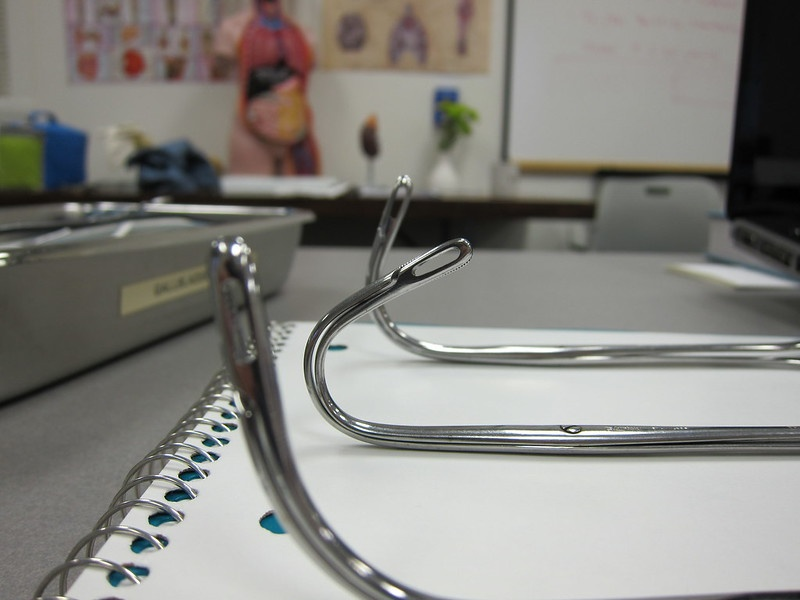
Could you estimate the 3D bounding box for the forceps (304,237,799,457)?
[{"bbox_3d":[0.089,0.058,0.501,0.265,0.093,0.186,-2,4,2],"label":"forceps"}]
